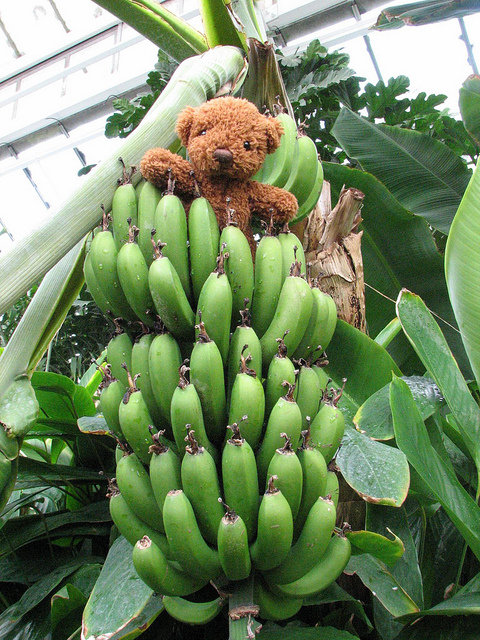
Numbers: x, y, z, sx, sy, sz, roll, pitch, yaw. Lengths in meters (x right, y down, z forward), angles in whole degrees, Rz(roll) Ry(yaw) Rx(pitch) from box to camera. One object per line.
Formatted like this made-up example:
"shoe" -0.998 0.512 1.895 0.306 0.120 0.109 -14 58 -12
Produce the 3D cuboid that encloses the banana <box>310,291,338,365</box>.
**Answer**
"banana" 0.232 0.027 1.424 0.042 0.162 0.119 8 -15 14

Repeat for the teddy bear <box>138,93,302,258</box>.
"teddy bear" -0.061 -0.383 1.447 0.478 0.494 0.233 9 -19 -8

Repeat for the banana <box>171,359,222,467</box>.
"banana" -0.102 0.194 1.175 0.077 0.295 0.106 -11 0 14

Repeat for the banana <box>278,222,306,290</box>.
"banana" 0.141 -0.222 1.504 0.043 0.055 0.148 16 -12 20

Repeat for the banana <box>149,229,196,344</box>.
"banana" -0.160 -0.081 1.264 0.106 0.311 0.094 2 42 3

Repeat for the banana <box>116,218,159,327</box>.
"banana" -0.250 -0.099 1.325 0.097 0.283 0.073 -10 2 -33

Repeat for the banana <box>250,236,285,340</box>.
"banana" 0.066 -0.090 1.332 0.068 0.269 0.086 8 -6 -13

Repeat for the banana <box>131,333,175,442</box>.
"banana" -0.221 0.159 1.351 0.079 0.323 0.108 -2 -12 -41

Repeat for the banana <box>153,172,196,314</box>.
"banana" -0.159 -0.186 1.346 0.067 0.339 0.118 -10 -3 -8

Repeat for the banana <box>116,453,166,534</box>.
"banana" -0.240 0.419 1.279 0.110 0.354 0.095 3 41 -14

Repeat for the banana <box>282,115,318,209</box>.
"banana" 0.210 -0.514 1.756 0.113 0.348 0.077 -2 -27 29

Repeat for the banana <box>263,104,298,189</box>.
"banana" 0.125 -0.515 1.704 0.080 0.302 0.113 3 -7 -5

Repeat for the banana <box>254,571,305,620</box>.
"banana" 0.080 0.590 1.161 0.084 0.150 0.066 -22 42 -26

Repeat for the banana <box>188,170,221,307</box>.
"banana" -0.089 -0.205 1.360 0.078 0.333 0.126 -2 -11 -1

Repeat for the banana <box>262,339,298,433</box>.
"banana" 0.106 0.132 1.256 0.056 0.240 0.065 23 47 37

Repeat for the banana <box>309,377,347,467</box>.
"banana" 0.212 0.254 1.278 0.070 0.216 0.067 7 2 34

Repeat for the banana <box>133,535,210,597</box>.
"banana" -0.138 0.494 1.088 0.057 0.173 0.113 -33 29 20
